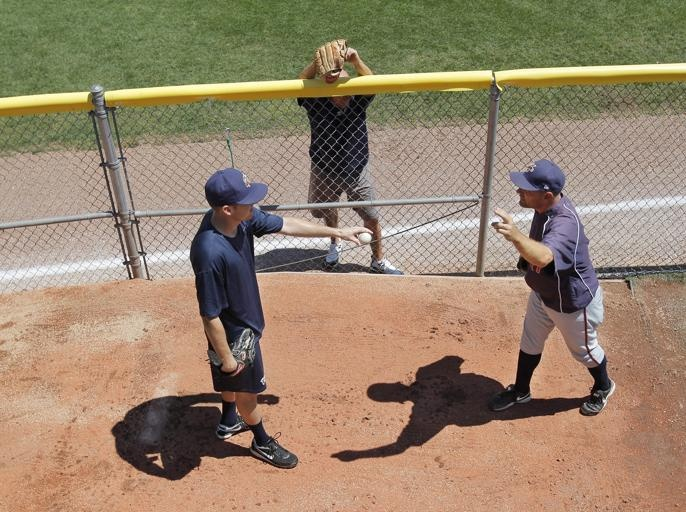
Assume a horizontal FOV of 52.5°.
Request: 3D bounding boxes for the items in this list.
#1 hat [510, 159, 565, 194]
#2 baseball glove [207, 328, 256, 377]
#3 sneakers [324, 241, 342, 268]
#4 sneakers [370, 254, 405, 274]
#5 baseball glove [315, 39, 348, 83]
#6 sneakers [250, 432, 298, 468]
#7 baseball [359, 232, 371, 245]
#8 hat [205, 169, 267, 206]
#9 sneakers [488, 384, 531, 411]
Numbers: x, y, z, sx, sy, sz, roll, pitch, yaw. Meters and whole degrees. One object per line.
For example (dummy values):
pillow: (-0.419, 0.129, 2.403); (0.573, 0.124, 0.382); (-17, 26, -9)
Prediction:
hat: (1.760, -0.677, 6.243); (0.461, 0.223, 0.288); (7, 40, 1)
baseball glove: (-0.940, 0.818, 5.932); (0.142, 0.391, 0.288); (39, 6, 9)
sneakers: (-0.106, 0.013, 8.878); (0.153, 0.170, 0.377); (5, 70, 6)
sneakers: (0.525, 0.105, 8.636); (0.500, 0.187, 0.165); (6, 26, -4)
baseball glove: (-0.122, -2.069, 7.367); (0.347, 0.396, 0.311); (-1, 28, -2)
sneakers: (-0.626, 1.820, 6.412); (0.515, 0.211, 0.191); (21, 41, 6)
baseball: (0.248, -0.192, 7.503); (0.116, 0.097, 0.096); (-11, 42, 51)
hat: (-0.887, -0.561, 5.819); (0.529, 0.317, 0.354); (-15, 31, -27)
sneakers: (1.652, 1.419, 6.939); (0.497, 0.212, 0.175); (-18, 50, -4)
